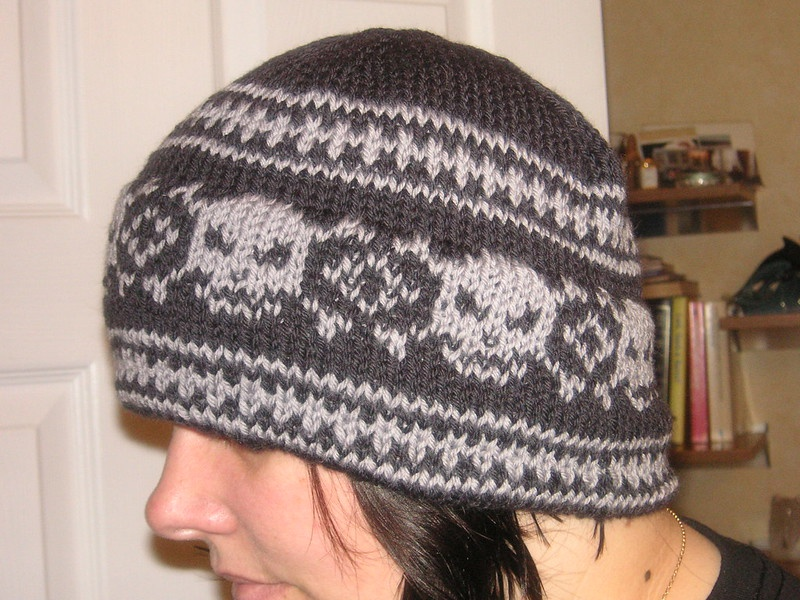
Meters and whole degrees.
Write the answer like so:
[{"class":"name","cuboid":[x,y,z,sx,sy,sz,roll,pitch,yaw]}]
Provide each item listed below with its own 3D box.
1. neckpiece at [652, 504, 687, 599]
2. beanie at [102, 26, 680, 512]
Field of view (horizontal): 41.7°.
[{"class":"neckpiece","cuboid":[0.468,0.445,1.860,0.086,0.123,0.004,-2,-6,-33]},{"class":"beanie","cuboid":[-0.009,-0.023,1.697,0.888,0.776,0.311,-6,10,-13]}]
